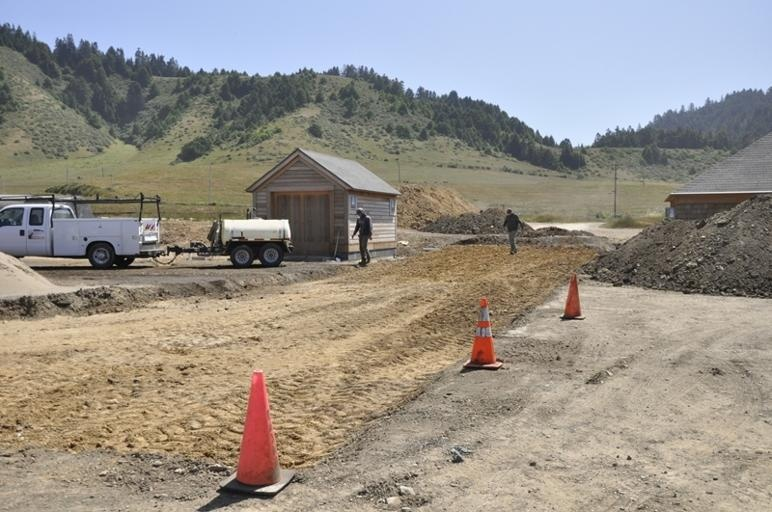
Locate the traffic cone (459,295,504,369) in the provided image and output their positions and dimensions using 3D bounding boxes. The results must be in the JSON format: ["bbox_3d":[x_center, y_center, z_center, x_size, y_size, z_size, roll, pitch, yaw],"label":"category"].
[{"bbox_3d":[1.892,1.486,15.125,0.747,1.302,0.721,0,9,7],"label":"traffic cone"}]

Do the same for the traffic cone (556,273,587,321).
[{"bbox_3d":[4.356,0.975,18.104,0.850,1.054,0.841,0,-4,-5],"label":"traffic cone"}]
